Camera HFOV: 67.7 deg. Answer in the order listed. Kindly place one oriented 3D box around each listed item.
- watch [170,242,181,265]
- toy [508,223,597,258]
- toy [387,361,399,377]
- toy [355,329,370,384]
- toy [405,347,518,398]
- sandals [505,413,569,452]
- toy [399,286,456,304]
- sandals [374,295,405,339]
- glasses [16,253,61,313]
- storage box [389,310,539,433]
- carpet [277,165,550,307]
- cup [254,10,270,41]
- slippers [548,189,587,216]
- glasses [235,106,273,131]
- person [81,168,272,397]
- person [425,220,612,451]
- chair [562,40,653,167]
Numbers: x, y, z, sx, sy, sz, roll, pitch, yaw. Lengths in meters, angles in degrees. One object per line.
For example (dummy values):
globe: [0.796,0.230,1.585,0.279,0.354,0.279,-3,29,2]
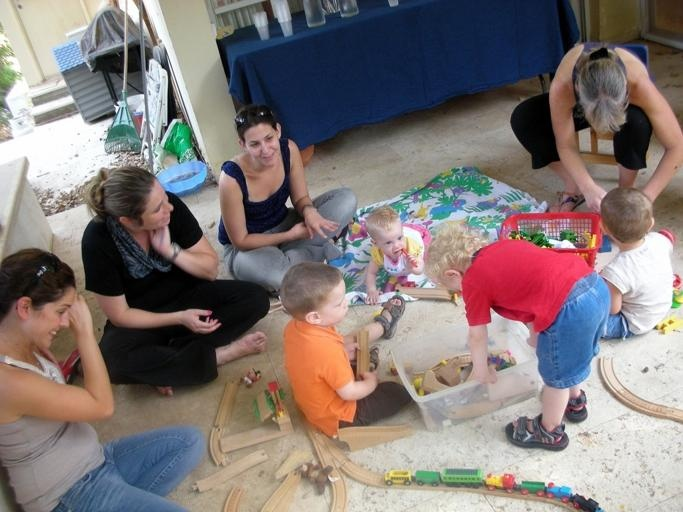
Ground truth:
watch: [-0.876,-0.016,2.691,0.044,0.088,0.071,6,5,-26]
toy: [1.158,-0.094,2.802,0.348,0.131,0.243,-6,26,0]
toy: [0.254,0.566,2.557,0.061,0.073,0.056,3,-6,23]
toy: [0.114,0.475,2.489,0.061,0.090,0.214,-2,64,9]
toy: [0.540,0.529,2.367,0.334,0.107,0.239,-25,14,0]
sandals: [0.820,0.758,2.147,0.230,0.112,0.128,7,33,18]
toy: [0.494,0.221,2.962,0.354,0.101,0.089,7,29,27]
sandals: [0.272,0.319,2.840,0.103,0.105,0.269,-27,28,38]
glasses: [-1.108,0.091,1.865,0.188,0.178,0.060,-54,51,14]
storage box: [0.597,0.605,2.385,0.639,0.240,0.439,-20,37,-1]
carpet: [0.674,-0.191,3.376,1.211,0.118,1.349,-11,33,36]
cup: [-0.654,-1.900,4.214,0.104,0.189,0.307,-14,30,-3]
slippers: [1.411,-0.316,3.222,0.281,0.070,0.112,-15,40,21]
glasses: [-0.475,-0.749,2.784,0.213,0.129,0.113,-18,30,-8]
person: [-0.915,0.103,2.657,0.719,1.041,0.900,22,38,30]
person: [0.742,0.308,2.226,0.787,0.914,0.422,5,23,45]
chair: [1.654,-0.954,3.024,0.496,0.897,0.511,11,31,33]
